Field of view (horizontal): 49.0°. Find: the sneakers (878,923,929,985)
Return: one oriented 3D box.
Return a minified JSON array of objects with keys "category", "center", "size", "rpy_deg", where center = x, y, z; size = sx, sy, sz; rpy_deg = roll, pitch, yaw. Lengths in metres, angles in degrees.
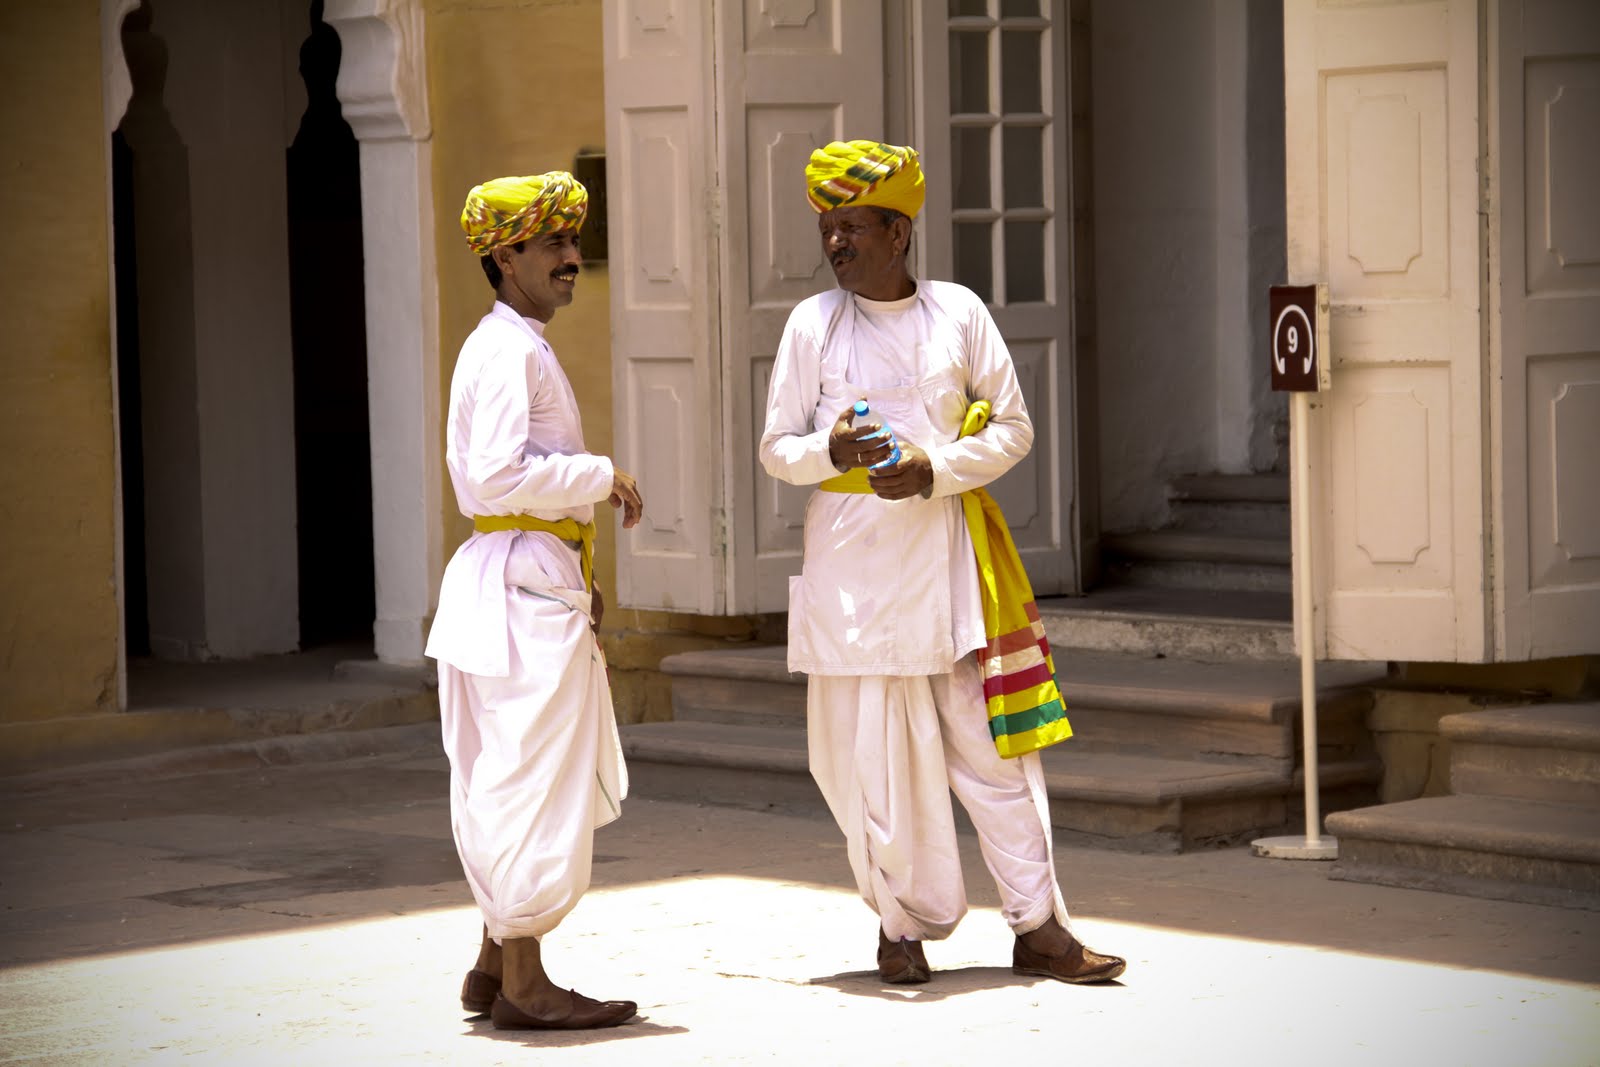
[{"category":"sneakers","center":[0.309,1.275,5.300],"size":[0.080,0.098,0.235],"rpy_deg":[-2,3,-1]}]

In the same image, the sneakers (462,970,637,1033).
[{"category":"sneakers","center":[-0.716,1.324,5.031],"size":[0.544,0.209,0.179],"rpy_deg":[-1,-3,-5]}]

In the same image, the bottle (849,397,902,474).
[{"category":"bottle","center":[0.223,-0.305,5.226],"size":[0.148,0.202,0.222],"rpy_deg":[-2,4,0]}]

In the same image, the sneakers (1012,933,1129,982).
[{"category":"sneakers","center":[0.790,1.241,5.268],"size":[0.354,0.142,0.129],"rpy_deg":[-1,3,22]}]

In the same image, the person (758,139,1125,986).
[{"category":"person","center":[0.350,0.067,5.352],"size":[0.911,2.526,0.525],"rpy_deg":[-2,4,-1]}]

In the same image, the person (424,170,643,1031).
[{"category":"person","center":[-0.768,0.172,5.008],"size":[0.601,2.428,0.524],"rpy_deg":[-1,5,13]}]
